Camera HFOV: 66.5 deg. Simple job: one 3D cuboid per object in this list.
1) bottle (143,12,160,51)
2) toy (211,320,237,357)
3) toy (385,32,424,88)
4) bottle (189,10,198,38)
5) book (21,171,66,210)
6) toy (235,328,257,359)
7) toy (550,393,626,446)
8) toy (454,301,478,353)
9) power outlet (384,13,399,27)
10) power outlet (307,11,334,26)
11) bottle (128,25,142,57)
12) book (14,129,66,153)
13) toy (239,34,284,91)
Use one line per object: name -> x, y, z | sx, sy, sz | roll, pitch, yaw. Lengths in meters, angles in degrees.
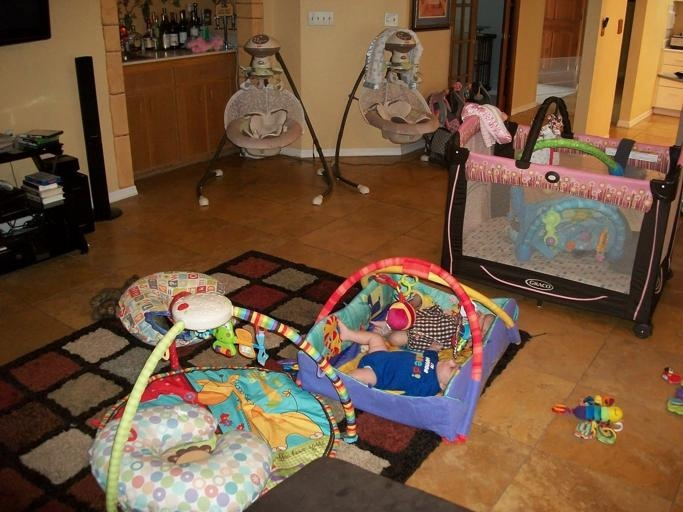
bottle -> -1.868, -2.191, 5.112 | 0.175, 0.306, 0.357 | -8, 30, -14
toy -> -0.467, 0.323, 2.090 | 0.108, 0.150, 0.042 | 13, 22, 16
toy -> 0.512, -1.642, 4.355 | 0.309, 0.457, 0.179 | -25, 37, -37
bottle -> -1.506, -2.367, 5.313 | 0.092, 0.245, 0.151 | 4, 29, 9
book -> -2.016, -0.470, 3.533 | 0.200, 0.133, 0.268 | -21, 39, -39
toy -> -0.403, 0.338, 2.150 | 0.068, 0.126, 0.161 | -9, 30, -14
toy -> 1.159, 0.721, 2.418 | 0.321, 0.125, 0.231 | 8, 30, 15
toy -> 0.596, 0.346, 2.506 | 0.106, 0.222, 0.318 | 3, 43, 17
power outlet -> 0.501, -2.398, 5.277 | 0.151, 0.131, 0.022 | -3, 31, -3
power outlet -> -0.203, -2.353, 5.164 | 0.255, 0.127, 0.039 | -6, 29, -10
bottle -> -1.949, -2.013, 4.914 | 0.059, 0.230, 0.243 | 7, 11, 6
book -> -2.111, -0.812, 3.606 | 0.213, 0.076, 0.185 | 9, 23, 17
toy -> -0.654, -1.641, 4.345 | 0.374, 0.403, 0.384 | 22, 35, 35
